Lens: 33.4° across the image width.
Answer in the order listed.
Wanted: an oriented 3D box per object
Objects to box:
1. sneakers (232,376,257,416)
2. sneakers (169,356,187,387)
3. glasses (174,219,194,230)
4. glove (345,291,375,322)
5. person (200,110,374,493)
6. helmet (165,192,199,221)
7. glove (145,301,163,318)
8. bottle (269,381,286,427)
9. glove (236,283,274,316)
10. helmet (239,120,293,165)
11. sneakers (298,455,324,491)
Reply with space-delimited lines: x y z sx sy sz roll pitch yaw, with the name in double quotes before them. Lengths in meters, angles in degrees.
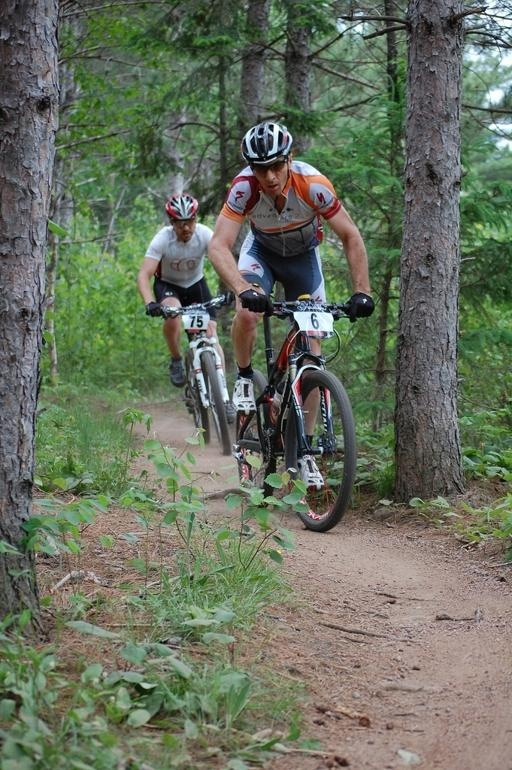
"sneakers" -0.076 0.071 5.653 0.109 0.124 0.289 0 23 -6
"sneakers" -0.761 -0.127 8.560 0.120 0.329 0.148 -7 7 4
"glasses" -0.626 -1.429 7.599 0.099 0.066 0.128 -2 1 -11
"glove" 0.593 -0.447 4.821 0.140 0.084 0.181 3 -10 -11
"person" 0.182 -0.491 5.162 0.935 2.148 1.220 -1 4 -8
"helmet" -0.674 -1.603 7.666 0.259 0.289 0.348 -1 3 -7
"glove" -0.866 -0.655 7.290 0.205 0.090 0.269 -2 10 -17
"bottle" 0.148 0.128 5.452 0.076 0.210 0.165 5 -4 19
"glove" 0.000 -0.455 4.553 0.163 0.070 0.123 28 5 39
"helmet" 0.079 -1.362 4.811 0.223 0.292 0.145 1 -40 12
"sneakers" 0.323 0.502 4.995 0.117 0.207 0.238 0 3 -1
